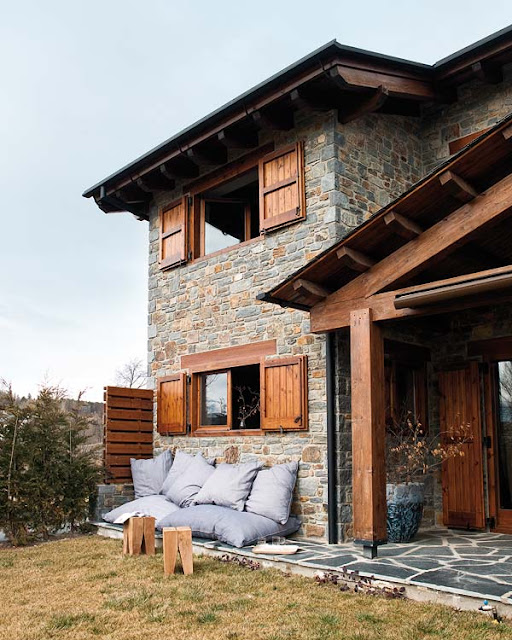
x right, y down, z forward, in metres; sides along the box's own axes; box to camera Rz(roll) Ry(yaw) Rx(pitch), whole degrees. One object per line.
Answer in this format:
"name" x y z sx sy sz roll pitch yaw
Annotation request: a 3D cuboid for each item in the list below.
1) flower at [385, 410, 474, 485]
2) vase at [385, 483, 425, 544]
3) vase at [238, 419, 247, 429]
"flower" 1.849 1.441 6.859 1.016 0.809 0.715 2 -10 -37
"vase" 1.428 1.904 6.103 0.532 0.532 0.521 10 -15 -30
"vase" -0.178 1.267 7.518 0.058 0.112 0.117 3 -10 -38
